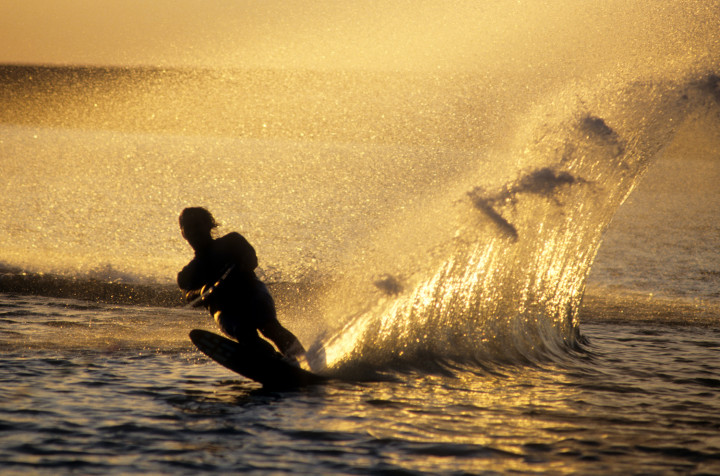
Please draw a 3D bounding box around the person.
[{"bbox_3d":[-2.137,0.782,21.762,1.256,3.315,1.118,-45,8,-4],"label":"person"}]
